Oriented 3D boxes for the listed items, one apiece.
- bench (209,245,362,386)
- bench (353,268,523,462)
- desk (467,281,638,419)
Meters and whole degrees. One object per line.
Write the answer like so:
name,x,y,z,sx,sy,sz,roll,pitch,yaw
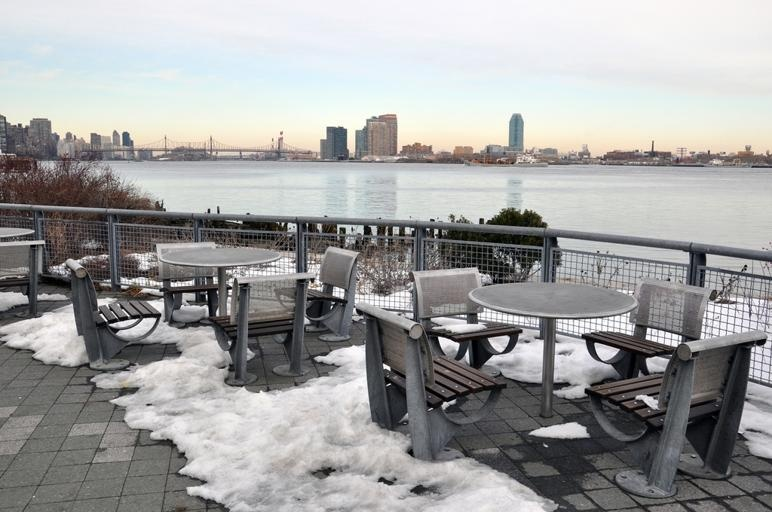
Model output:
bench,-1.127,0.670,6.522,0.973,1.219,1.863,6,15,21
bench,0.428,0.939,5.420,1.544,1.750,1.966,-4,8,-23
desk,1.480,0.819,5.185,1.108,1.043,0.750,16,52,-3
